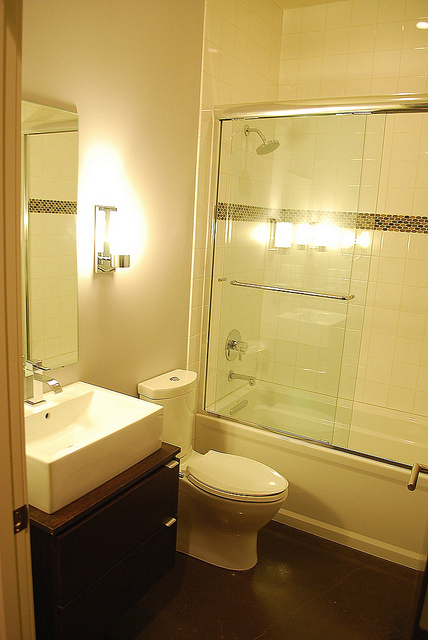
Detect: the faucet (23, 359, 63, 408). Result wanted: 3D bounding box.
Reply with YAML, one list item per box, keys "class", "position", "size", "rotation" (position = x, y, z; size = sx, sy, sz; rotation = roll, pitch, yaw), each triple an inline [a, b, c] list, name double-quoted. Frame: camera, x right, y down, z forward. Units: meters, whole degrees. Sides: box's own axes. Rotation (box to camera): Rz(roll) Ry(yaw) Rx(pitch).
- class: "faucet"
  position: [-0.546, 0.191, 1.485]
  size: [0.141, 0.158, 0.058]
  rotation: [2, 3, 27]

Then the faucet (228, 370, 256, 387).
- class: "faucet"
  position: [0.151, 0.312, 2.626]
  size: [0.126, 0.075, 0.075]
  rotation: [9, 7, 28]

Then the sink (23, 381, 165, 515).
- class: "sink"
  position: [-0.413, 0.386, 1.429]
  size: [0.302, 0.149, 0.403]
  rotation: [9, 16, 26]

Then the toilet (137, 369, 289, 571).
- class: "toilet"
  position: [-0.008, 0.677, 2.128]
  size: [0.648, 0.791, 0.369]
  rotation: [7, 10, 34]
